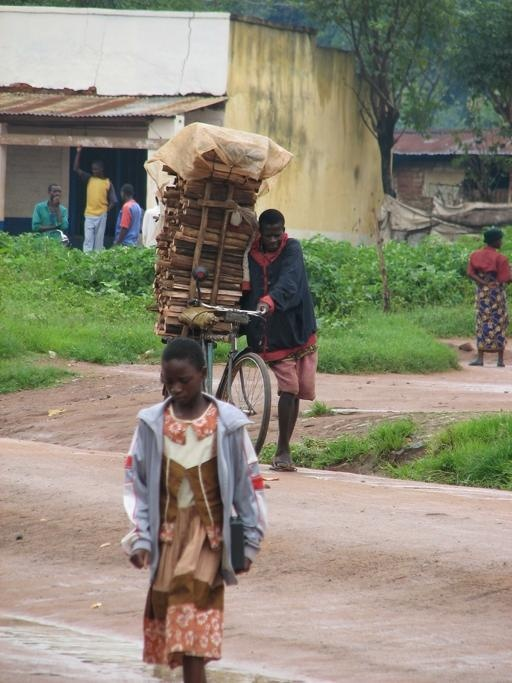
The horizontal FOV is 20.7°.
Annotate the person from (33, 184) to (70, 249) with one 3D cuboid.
[{"bbox_3d":[-3.154,-1.967,21.937,0.580,0.975,0.658,-1,-6,19],"label":"person"}]

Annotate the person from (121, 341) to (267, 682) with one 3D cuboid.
[{"bbox_3d":[-0.252,0.711,6.015,0.565,1.403,0.543,-9,11,-43],"label":"person"}]

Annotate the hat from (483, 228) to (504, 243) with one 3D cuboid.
[{"bbox_3d":[2.763,-1.249,16.175,0.192,0.232,0.234,0,-3,-4],"label":"hat"}]

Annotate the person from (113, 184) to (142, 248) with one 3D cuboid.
[{"bbox_3d":[-1.926,-1.922,21.282,0.405,0.927,1.263,-2,8,-4],"label":"person"}]
